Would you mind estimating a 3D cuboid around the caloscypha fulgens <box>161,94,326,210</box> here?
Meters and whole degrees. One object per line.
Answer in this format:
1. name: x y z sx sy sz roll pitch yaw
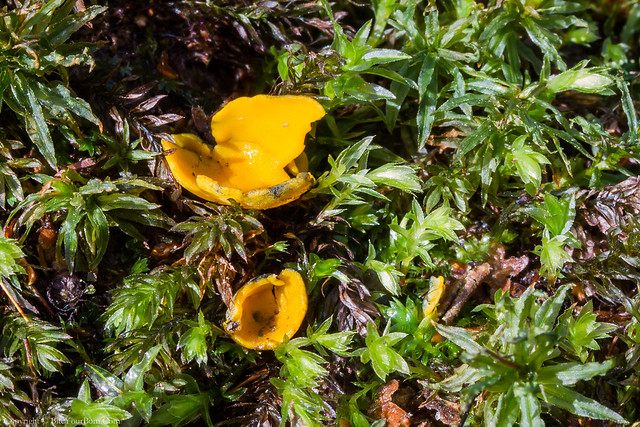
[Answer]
1. caloscypha fulgens: -0.343 -0.278 3.026 0.802 0.350 0.552 -18 72 -11
